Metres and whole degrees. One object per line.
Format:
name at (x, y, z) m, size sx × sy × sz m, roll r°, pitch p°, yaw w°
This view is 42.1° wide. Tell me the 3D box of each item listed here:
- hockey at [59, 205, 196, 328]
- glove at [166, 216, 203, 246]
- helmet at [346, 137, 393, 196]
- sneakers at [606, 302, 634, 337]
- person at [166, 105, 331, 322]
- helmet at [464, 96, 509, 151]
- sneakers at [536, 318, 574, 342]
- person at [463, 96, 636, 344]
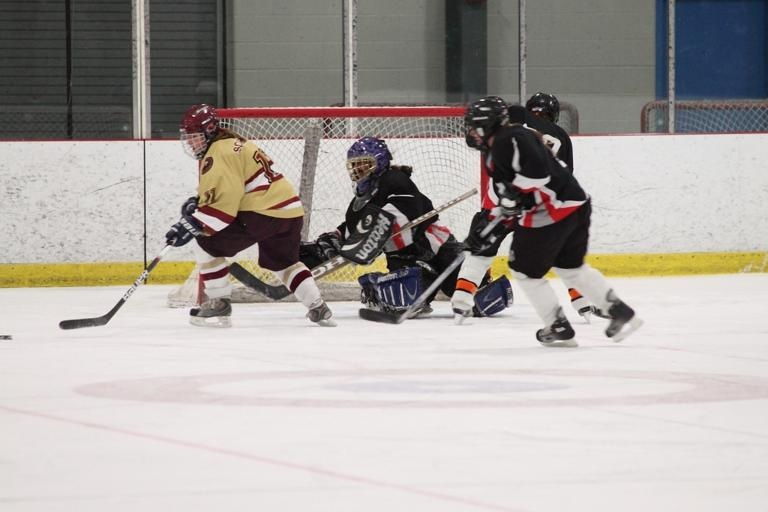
hockey at (-1.870, 0.039, 7.178) m, size 1.113 × 0.185 × 0.268 m, roll -42°, pitch 28°, yaw -29°
glove at (-1.157, -0.162, 5.854) m, size 0.230 × 0.135 × 0.053 m, roll -32°, pitch 17°, yaw 38°
helmet at (-0.074, -0.617, 6.434) m, size 0.297 × 0.309 × 0.330 m, roll -4°, pitch 7°, yaw 30°
sneakers at (1.261, 0.319, 5.353) m, size 0.150 × 0.205 × 0.118 m, roll 1°, pitch 6°, yaw -2°
person at (-0.812, -0.258, 5.949) m, size 0.921 × 1.299 × 0.358 m, roll 0°, pitch 6°, yaw -11°
helmet at (0.565, -0.757, 5.532) m, size 0.333 × 0.286 × 0.248 m, roll -4°, pitch 9°, yaw 10°
sneakers at (0.922, 0.388, 5.378) m, size 0.202 × 0.106 × 0.116 m, roll 4°, pitch 1°, yaw 3°
person at (0.887, -0.206, 5.387) m, size 0.917 × 1.318 × 0.357 m, roll 1°, pitch 6°, yaw -4°
